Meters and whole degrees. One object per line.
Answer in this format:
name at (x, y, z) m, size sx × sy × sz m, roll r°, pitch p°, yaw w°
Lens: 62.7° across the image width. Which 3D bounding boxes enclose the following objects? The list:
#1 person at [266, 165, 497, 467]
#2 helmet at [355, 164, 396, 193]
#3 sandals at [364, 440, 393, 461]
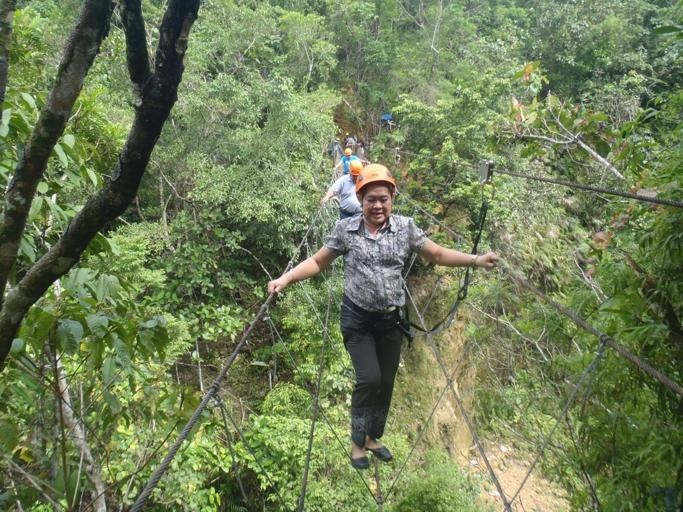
person at (0.184, 0.431, 3.779) m, size 1.163 × 1.954 × 0.654 m, roll 6°, pitch -13°, yaw -8°
helmet at (0.232, -0.526, 3.731) m, size 0.256 × 0.216 × 0.164 m, roll 5°, pitch -13°, yaw 0°
sandals at (0.253, 1.391, 4.006) m, size 0.093 × 0.075 × 0.257 m, roll -8°, pitch 2°, yaw -24°
